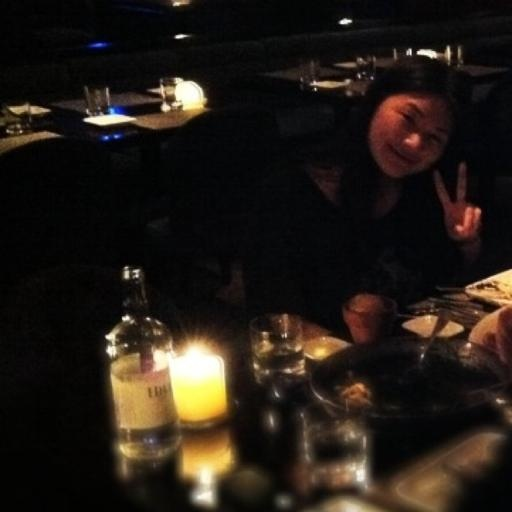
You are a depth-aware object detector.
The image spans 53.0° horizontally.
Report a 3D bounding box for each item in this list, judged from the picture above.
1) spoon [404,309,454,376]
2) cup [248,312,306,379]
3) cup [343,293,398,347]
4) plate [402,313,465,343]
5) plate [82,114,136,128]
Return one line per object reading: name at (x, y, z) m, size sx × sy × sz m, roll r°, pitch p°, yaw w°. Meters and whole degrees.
spoon at (0.250, 0.119, 0.728) m, size 0.033 × 0.005 × 0.108 m, roll 22°, pitch 65°, yaw 38°
cup at (0.029, 0.125, 0.712) m, size 0.082 × 0.089 × 0.084 m, roll -3°, pitch 3°, yaw 0°
cup at (0.210, 0.096, 0.893) m, size 0.115 × 0.099 × 0.143 m, roll 0°, pitch -1°, yaw 1°
plate at (0.265, 0.103, 0.782) m, size 0.049 × 0.006 × 0.047 m, roll -14°, pitch 20°, yaw -33°
plate at (-0.545, -0.502, 1.900) m, size 0.181 × 0.040 × 0.206 m, roll -14°, pitch 21°, yaw -26°
